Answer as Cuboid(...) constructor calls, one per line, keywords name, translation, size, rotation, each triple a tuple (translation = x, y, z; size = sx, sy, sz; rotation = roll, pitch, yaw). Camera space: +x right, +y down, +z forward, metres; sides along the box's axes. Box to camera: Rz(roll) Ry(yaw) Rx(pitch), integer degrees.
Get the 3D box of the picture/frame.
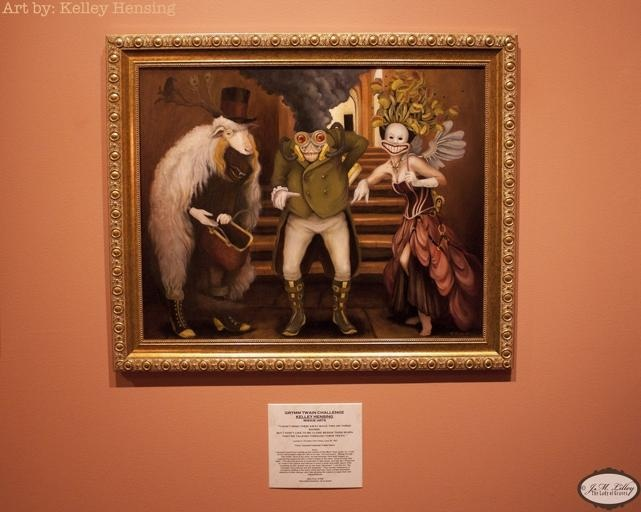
Cuboid(name="picture/frame", translation=(-0.062, -0.242, 3.028), size=(1.348, 1.053, 0.064), rotation=(0, 4, -1))
